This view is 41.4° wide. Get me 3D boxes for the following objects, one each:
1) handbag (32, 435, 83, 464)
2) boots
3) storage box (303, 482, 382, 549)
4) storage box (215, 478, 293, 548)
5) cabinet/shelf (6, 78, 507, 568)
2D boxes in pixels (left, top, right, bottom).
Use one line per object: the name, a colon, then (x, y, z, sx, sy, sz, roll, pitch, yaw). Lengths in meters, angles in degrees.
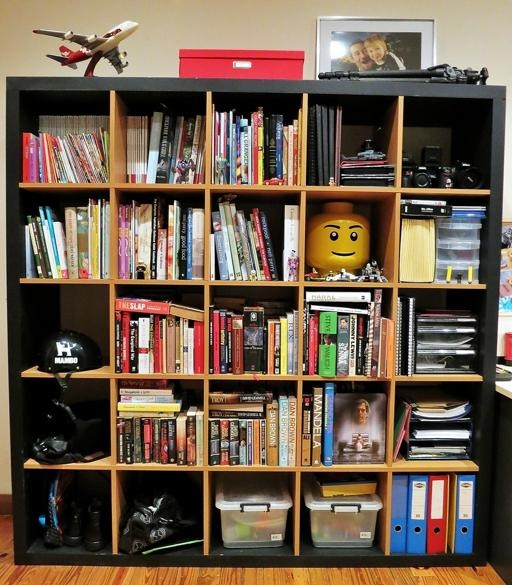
handbag: (-0.770, 0.603, 2.622, 0.137, 0.050, 0.105, 3, 0, -3)
boots: (-0.718, 0.878, 2.785, 0.215, 0.153, 0.340, 4, 5, -5)
storage box: (0.351, 0.893, 2.677, 0.230, 0.144, 0.293, 0, 0, 3)
storage box: (-0.009, 0.891, 2.789, 0.201, 0.126, 0.277, 1, 4, -1)
cabinet/shelf: (0.008, 0.119, 2.634, 1.894, 1.773, 0.567, 0, 6, 2)
